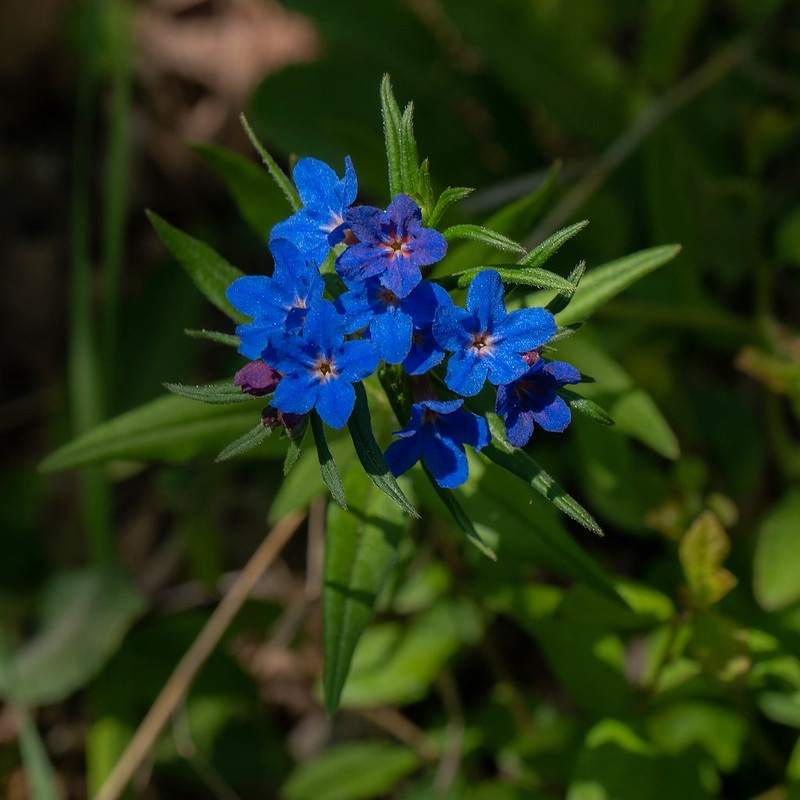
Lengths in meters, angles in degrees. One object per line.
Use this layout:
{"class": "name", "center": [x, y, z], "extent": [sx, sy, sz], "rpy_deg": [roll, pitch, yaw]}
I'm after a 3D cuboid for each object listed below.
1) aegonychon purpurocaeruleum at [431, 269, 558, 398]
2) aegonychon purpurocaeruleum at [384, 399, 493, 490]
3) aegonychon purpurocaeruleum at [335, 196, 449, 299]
{"class": "aegonychon purpurocaeruleum", "center": [0.286, -0.177, 2.406], "extent": [0.477, 0.196, 0.549], "rpy_deg": [9, 7, 17]}
{"class": "aegonychon purpurocaeruleum", "center": [0.098, 0.127, 2.400], "extent": [0.291, 0.235, 0.124], "rpy_deg": [-22, -2, 9]}
{"class": "aegonychon purpurocaeruleum", "center": [-0.029, -0.380, 2.299], "extent": [0.262, 0.265, 0.172], "rpy_deg": [-22, -2, 30]}
